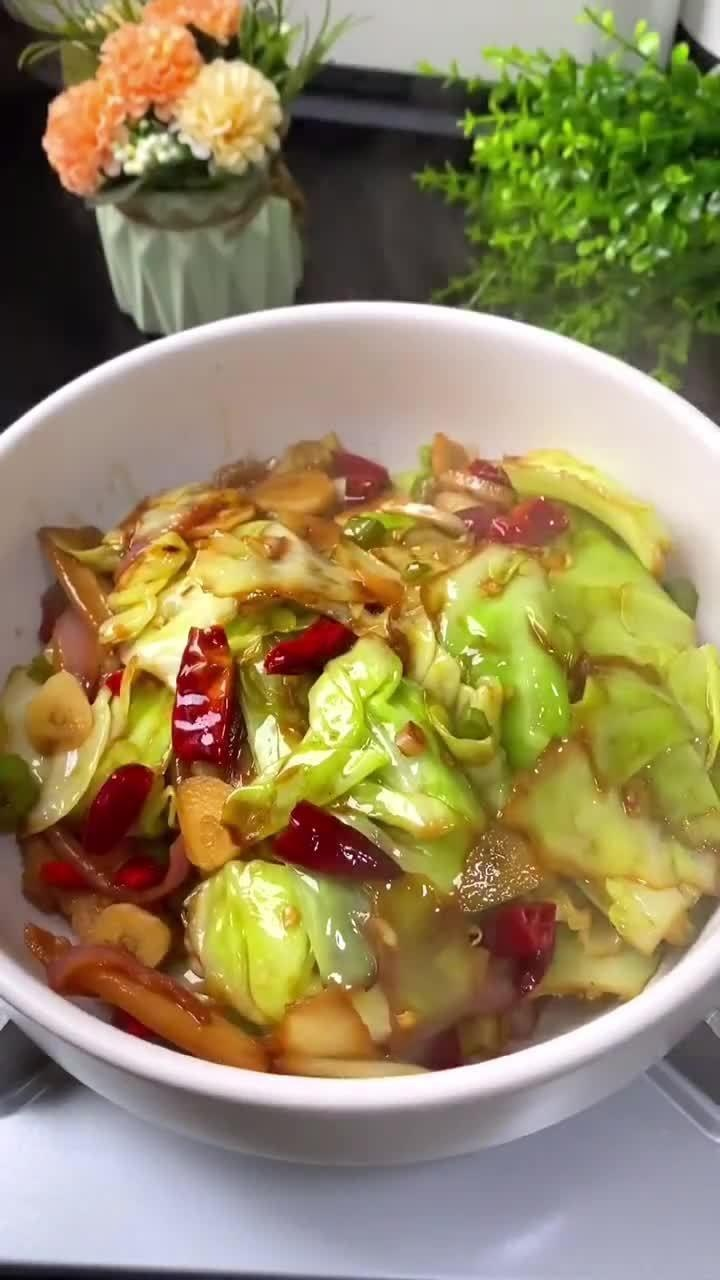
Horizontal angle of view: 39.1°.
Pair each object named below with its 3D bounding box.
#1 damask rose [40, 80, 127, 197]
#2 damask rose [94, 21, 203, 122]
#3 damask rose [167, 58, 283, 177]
[{"bbox_3d":[-0.269,-0.494,1.001,0.092,0.092,0.075,4,53,3],"label":"damask rose"},{"bbox_3d":[-0.206,-0.544,0.973,0.105,0.065,0.083,23,56,16],"label":"damask rose"},{"bbox_3d":[-0.121,-0.479,0.977,0.103,0.112,0.063,-4,13,-17],"label":"damask rose"}]
